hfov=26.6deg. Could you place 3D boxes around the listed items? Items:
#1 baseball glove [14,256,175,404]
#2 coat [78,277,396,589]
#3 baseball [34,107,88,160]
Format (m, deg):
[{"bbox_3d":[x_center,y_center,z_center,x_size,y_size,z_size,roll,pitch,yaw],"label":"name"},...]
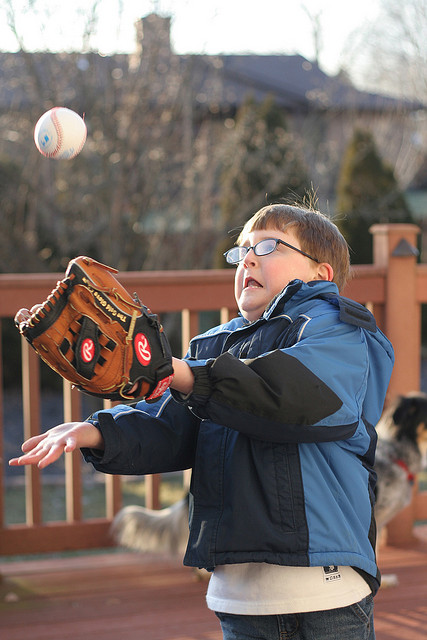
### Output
[{"bbox_3d":[-0.226,-0.019,2.190,0.391,0.324,0.324,8,13,25],"label":"baseball glove"},{"bbox_3d":[0.018,0.252,2.515,0.917,0.832,0.723,-2,12,-32],"label":"coat"},{"bbox_3d":[-0.489,-0.590,2.889,0.157,0.150,0.201,0,9,-22],"label":"baseball"}]
